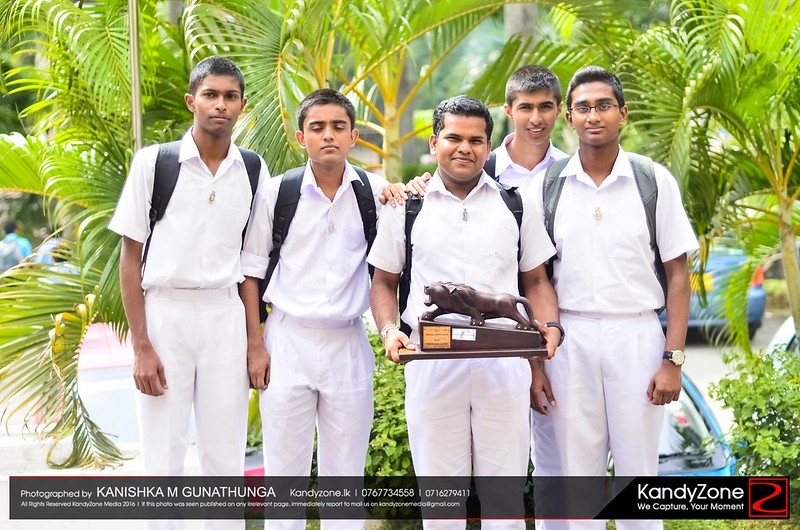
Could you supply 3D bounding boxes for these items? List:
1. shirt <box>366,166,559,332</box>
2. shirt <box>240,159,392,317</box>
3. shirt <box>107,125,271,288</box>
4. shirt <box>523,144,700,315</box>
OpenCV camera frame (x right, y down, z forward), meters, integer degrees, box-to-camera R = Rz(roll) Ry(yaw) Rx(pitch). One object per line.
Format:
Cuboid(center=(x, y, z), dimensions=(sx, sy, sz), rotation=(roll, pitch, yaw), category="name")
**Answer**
Cuboid(center=(0.457, -0.073, 5.750), dimensions=(1.437, 1.049, 0.579), rotation=(-2, 16, 6), category="shirt")
Cuboid(center=(-0.561, -0.200, 5.991), dimensions=(1.351, 1.107, 0.559), rotation=(3, -4, -24), category="shirt")
Cuboid(center=(-1.418, -0.375, 5.704), dimensions=(1.367, 1.070, 0.618), rotation=(5, -5, -24), category="shirt")
Cuboid(center=(1.477, -0.262, 5.873), dimensions=(1.380, 1.107, 0.638), rotation=(-1, 8, 25), category="shirt")
